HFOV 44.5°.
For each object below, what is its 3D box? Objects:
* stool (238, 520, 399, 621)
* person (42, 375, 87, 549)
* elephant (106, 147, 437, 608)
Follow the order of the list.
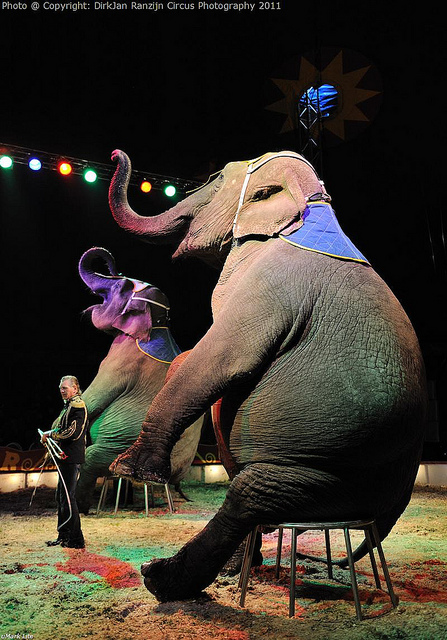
[{"bbox_3d":[0.415,0.835,2.019,0.593,0.310,0.546,9,-16,-28],"label":"stool"},{"bbox_3d":[-1.031,0.909,3.597,0.329,1.081,0.374,5,-9,-16],"label":"person"},{"bbox_3d":[0.222,0.135,2.063,1.005,1.803,0.631,0,-9,13],"label":"elephant"}]
